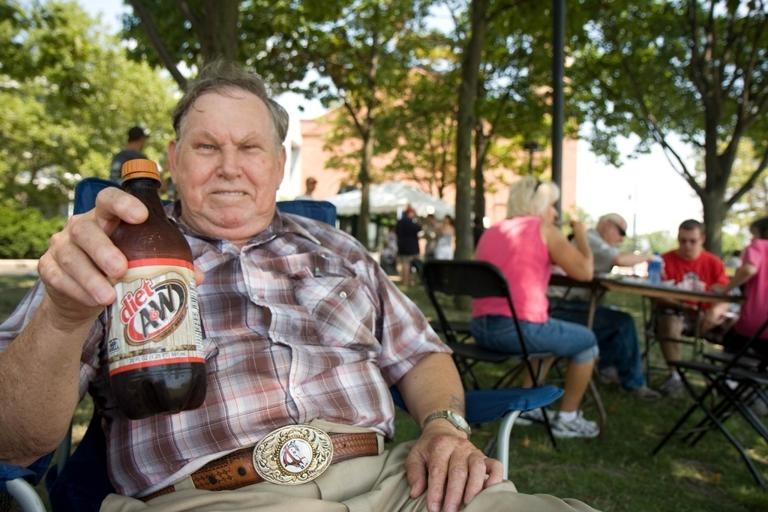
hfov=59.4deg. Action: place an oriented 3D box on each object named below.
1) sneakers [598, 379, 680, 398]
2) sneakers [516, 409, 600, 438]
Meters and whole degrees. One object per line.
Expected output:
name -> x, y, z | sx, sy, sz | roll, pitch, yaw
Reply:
sneakers -> 1.912, 0.977, 5.026 | 0.143, 0.175, 0.422 | -8, -7, -30
sneakers -> 1.284, 1.260, 5.135 | 0.661, 0.295, 0.234 | -4, 3, 13
